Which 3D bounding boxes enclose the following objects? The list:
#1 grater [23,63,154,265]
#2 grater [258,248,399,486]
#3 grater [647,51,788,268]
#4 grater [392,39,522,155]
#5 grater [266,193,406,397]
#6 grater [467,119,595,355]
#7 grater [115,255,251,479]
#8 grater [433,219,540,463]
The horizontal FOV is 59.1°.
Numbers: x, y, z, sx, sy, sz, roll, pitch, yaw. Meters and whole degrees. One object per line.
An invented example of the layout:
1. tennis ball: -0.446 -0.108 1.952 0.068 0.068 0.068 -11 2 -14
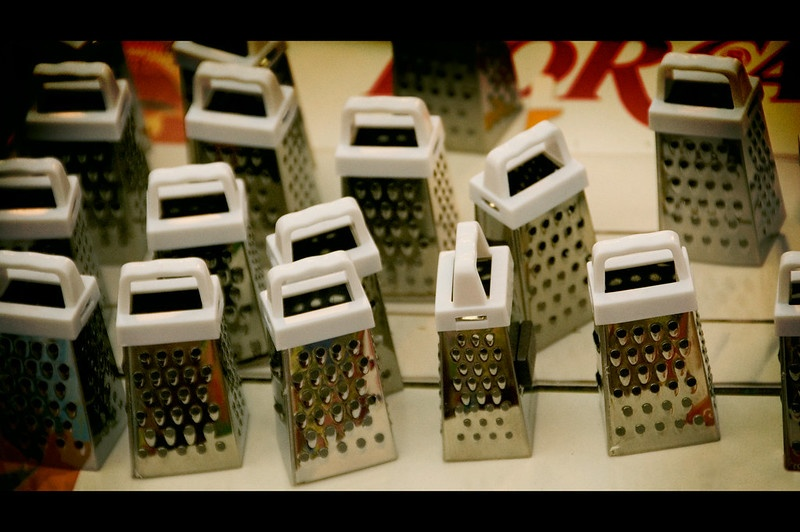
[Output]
1. grater: -0.953 -0.252 2.152 0.355 0.535 0.370 -9 2 16
2. grater: -0.177 0.243 1.725 0.285 0.519 0.252 -9 33 -13
3. grater: 0.888 -0.318 1.987 0.272 0.591 0.329 -38 34 -21
4. grater: 0.194 -0.630 2.179 0.316 0.456 0.327 2 58 8
5. grater: -0.169 0.079 1.772 0.287 0.524 0.292 -19 45 -10
6. grater: 0.346 -0.051 1.865 0.336 0.570 0.274 -40 50 -17
7. grater: -0.551 0.247 1.743 0.284 0.529 0.229 -4 32 -6
8. grater: 0.214 0.200 1.736 0.251 0.575 0.333 -7 29 7
